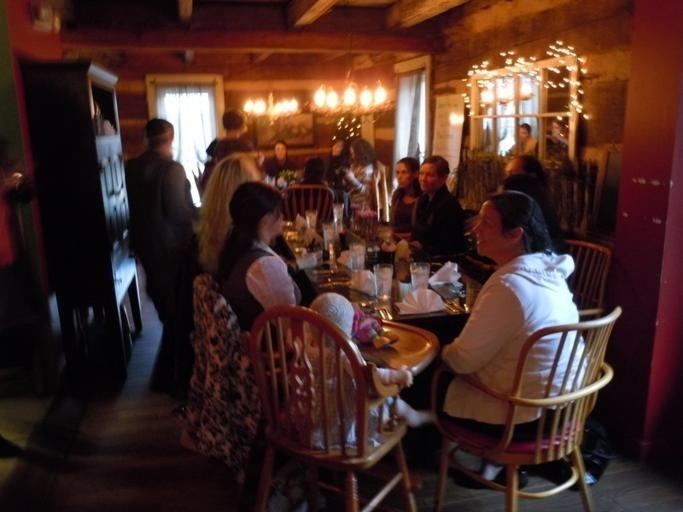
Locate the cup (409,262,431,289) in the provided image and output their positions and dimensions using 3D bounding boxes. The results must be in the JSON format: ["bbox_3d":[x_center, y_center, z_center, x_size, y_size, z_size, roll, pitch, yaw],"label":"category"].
[{"bbox_3d":[0.414,0.113,2.850,0.118,0.196,0.122,0,0,0],"label":"cup"}]

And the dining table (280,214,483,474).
[{"bbox_3d":[0.194,0.445,2.524,0.707,0.666,1.317,-1,17,-9],"label":"dining table"}]

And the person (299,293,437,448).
[{"bbox_3d":[0.123,0.364,2.376,0.562,0.814,0.552,-12,27,-18],"label":"person"}]

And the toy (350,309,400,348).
[{"bbox_3d":[0.148,0.343,2.337,0.125,0.076,0.226,-16,44,-34],"label":"toy"}]

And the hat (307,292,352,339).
[{"bbox_3d":[-0.057,0.251,2.102,0.141,0.201,0.192,5,19,26],"label":"hat"}]

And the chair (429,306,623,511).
[{"bbox_3d":[0.789,0.758,2.310,0.776,1.103,0.459,2,13,9],"label":"chair"}]

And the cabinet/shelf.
[{"bbox_3d":[-1.761,-0.192,3.595,0.417,2.185,1.328,-2,13,-7],"label":"cabinet/shelf"}]

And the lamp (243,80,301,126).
[{"bbox_3d":[-1.204,-2.517,8.771,0.839,0.651,0.872,0,9,4],"label":"lamp"}]

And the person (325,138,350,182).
[{"bbox_3d":[-0.053,-1.362,7.510,0.346,0.562,1.051,-1,13,-1],"label":"person"}]
